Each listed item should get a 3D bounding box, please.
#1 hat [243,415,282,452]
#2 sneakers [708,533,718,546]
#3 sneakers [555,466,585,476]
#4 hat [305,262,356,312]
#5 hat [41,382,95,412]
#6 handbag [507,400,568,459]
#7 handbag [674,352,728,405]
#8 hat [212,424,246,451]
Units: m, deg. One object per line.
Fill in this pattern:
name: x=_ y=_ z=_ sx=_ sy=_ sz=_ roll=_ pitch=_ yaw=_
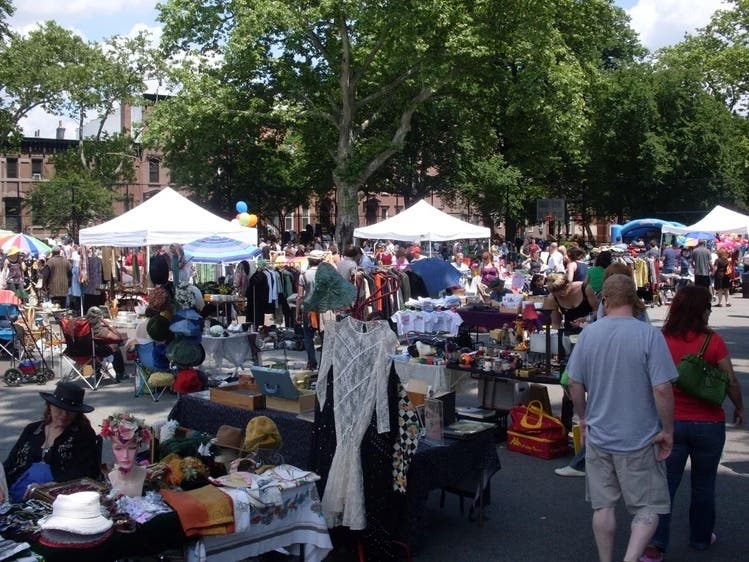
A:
hat: x=-0.926 y=1.261 z=6.344 sx=0.295 sy=0.268 sz=0.218 roll=-5 pitch=2 yaw=-8
sneakers: x=2.764 y=2.095 z=6.292 sx=0.053 sy=0.060 sz=0.147 roll=1 pitch=24 yaw=30
sneakers: x=1.961 y=1.884 z=7.731 sx=0.281 sy=0.118 sz=0.107 roll=2 pitch=-10 yaw=17
hat: x=-0.359 y=0.057 z=6.122 sx=0.411 sy=0.372 sz=0.273 roll=-2 pitch=1 yaw=-3
hat: x=-2.402 y=0.913 z=5.992 sx=0.351 sy=0.262 sz=0.354 roll=-3 pitch=1 yaw=-31
handbag: x=1.729 y=1.594 z=8.430 sx=0.623 sy=0.579 sz=0.472 roll=7 pitch=8 yaw=37
handbag: x=2.491 y=0.744 z=5.861 sx=0.286 sy=0.294 sz=0.133 roll=28 pitch=1 yaw=7
hat: x=-1.203 y=1.313 z=6.446 sx=0.349 sy=0.202 sz=0.156 roll=-2 pitch=1 yaw=31
